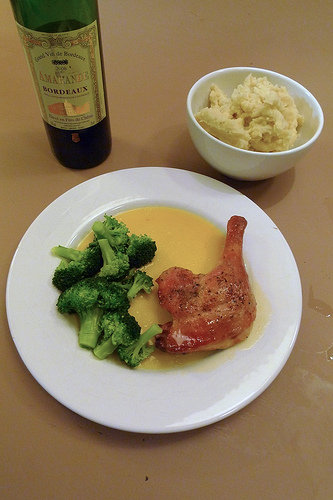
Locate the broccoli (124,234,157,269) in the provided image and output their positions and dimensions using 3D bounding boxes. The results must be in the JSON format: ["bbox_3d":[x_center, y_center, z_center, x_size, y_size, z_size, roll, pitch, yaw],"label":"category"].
[{"bbox_3d":[-0.067,0.004,1.203,0.066,0.079,0.072,-13,30,-25],"label":"broccoli"}]

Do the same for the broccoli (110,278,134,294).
[{"bbox_3d":[-0.116,0.094,1.130,0.043,0.013,0.042,10,41,26],"label":"broccoli"}]

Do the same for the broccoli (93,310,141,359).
[{"bbox_3d":[-0.115,0.195,1.039,0.107,0.051,0.111,1,53,-2],"label":"broccoli"}]

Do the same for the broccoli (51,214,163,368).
[{"bbox_3d":[-0.139,0.101,1.087,0.257,0.150,0.362,5,57,-16],"label":"broccoli"}]

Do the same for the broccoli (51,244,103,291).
[{"bbox_3d":[-0.226,0.040,1.117,0.102,0.065,0.124,-20,45,-22],"label":"broccoli"}]

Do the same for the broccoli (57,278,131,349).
[{"bbox_3d":[-0.191,0.149,1.103,0.153,0.188,0.181,20,64,-37],"label":"broccoli"}]

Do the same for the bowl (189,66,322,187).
[{"bbox_3d":[0.252,-0.325,1.393,0.379,0.254,0.354,0,58,-1],"label":"bowl"}]

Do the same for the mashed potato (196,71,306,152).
[{"bbox_3d":[0.278,-0.403,1.352,0.318,0.226,0.335,-27,35,-22],"label":"mashed potato"}]
